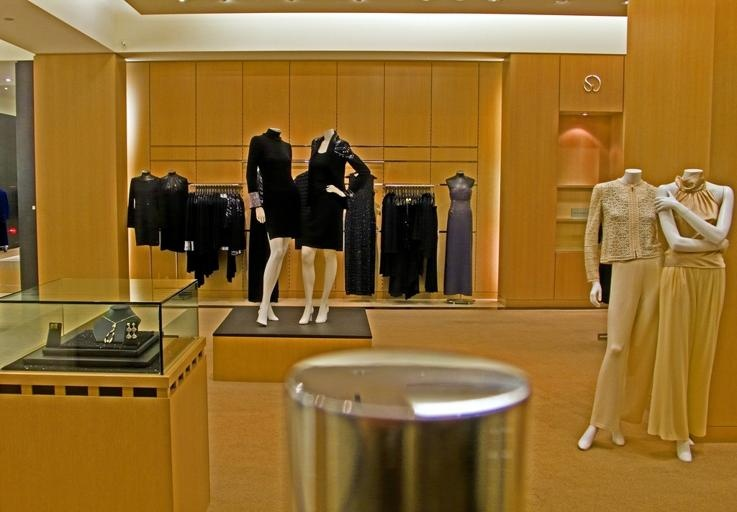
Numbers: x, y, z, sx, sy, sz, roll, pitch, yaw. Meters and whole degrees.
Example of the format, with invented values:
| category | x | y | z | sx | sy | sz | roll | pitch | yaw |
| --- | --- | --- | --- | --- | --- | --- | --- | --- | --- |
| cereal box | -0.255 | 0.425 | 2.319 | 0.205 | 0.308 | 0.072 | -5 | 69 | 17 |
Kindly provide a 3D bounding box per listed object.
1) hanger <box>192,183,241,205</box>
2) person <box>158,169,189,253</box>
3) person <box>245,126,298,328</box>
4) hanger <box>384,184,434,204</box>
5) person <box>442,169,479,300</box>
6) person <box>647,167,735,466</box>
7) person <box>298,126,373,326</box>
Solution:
| category | x | y | z | sx | sy | sz | roll | pitch | yaw |
| --- | --- | --- | --- | --- | --- | --- | --- | --- | --- |
| hanger | -1.901 | -0.822 | 7.964 | 0.649 | 0.141 | 0.612 | -2 | 14 | -11 |
| person | -2.372 | -0.547 | 7.755 | 0.330 | 0.948 | 0.240 | -2 | 13 | -14 |
| person | -0.813 | -0.263 | 5.540 | 0.439 | 1.665 | 0.463 | -3 | 13 | -17 |
| hanger | 0.528 | -0.800 | 7.960 | 0.641 | 0.194 | 0.441 | 1 | 14 | 0 |
| person | 1.135 | -0.282 | 7.900 | 0.327 | 1.497 | 0.405 | 2 | 13 | 3 |
| person | 2.127 | 0.389 | 4.309 | 0.480 | 1.907 | 0.517 | 7 | 14 | 24 |
| person | -0.337 | -0.259 | 5.638 | 0.613 | 1.692 | 0.515 | -2 | 13 | -15 |
